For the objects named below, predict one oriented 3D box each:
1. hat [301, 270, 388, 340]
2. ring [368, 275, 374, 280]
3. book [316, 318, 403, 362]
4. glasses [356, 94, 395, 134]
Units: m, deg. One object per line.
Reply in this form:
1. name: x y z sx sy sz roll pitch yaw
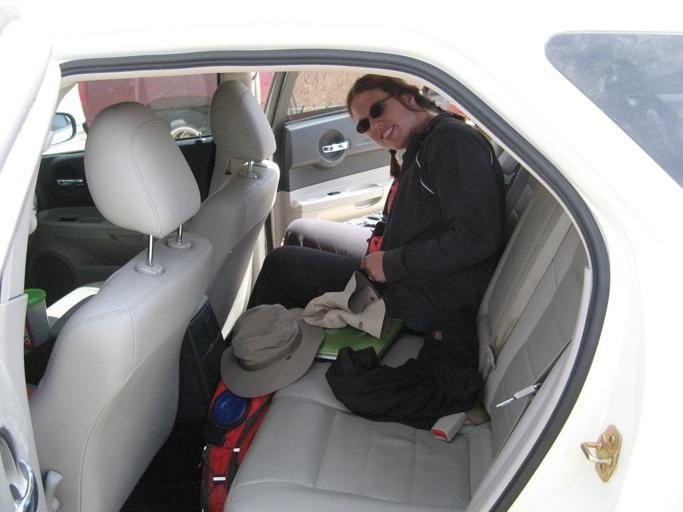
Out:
1. hat: 0.032 0.163 1.907 0.262 0.165 0.336 -23 -4 27
2. ring: 0.111 0.083 1.980 0.009 0.012 0.015 -41 31 -26
3. book: 0.048 0.280 1.724 0.145 0.041 0.167 -4 33 13
4. glasses: 0.132 -0.582 2.182 0.167 0.185 0.055 3 44 0
